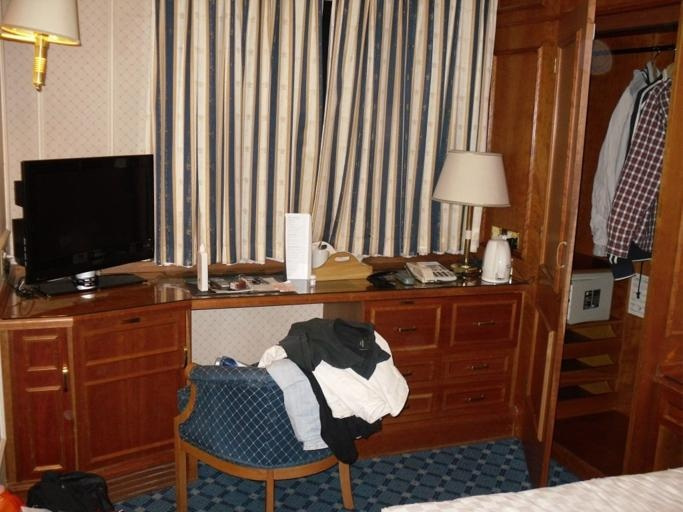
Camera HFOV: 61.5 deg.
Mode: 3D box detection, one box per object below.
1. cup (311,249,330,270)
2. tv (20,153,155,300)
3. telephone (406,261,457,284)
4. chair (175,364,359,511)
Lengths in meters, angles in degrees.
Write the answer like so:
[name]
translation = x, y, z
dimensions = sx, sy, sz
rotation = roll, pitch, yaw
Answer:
[cup]
translation = -0.160, 0.034, 4.198
dimensions = 0.129, 0.102, 0.101
rotation = -1, 3, -24
[tv]
translation = -1.622, -0.211, 3.614
dimensions = 0.416, 0.837, 0.797
rotation = 16, 19, 38
[telephone]
translation = 0.655, 0.120, 4.202
dimensions = 0.188, 0.064, 0.236
rotation = -2, 18, -11
[chair]
translation = -0.414, 0.851, 3.367
dimensions = 0.840, 0.866, 0.885
rotation = 2, 3, 38
